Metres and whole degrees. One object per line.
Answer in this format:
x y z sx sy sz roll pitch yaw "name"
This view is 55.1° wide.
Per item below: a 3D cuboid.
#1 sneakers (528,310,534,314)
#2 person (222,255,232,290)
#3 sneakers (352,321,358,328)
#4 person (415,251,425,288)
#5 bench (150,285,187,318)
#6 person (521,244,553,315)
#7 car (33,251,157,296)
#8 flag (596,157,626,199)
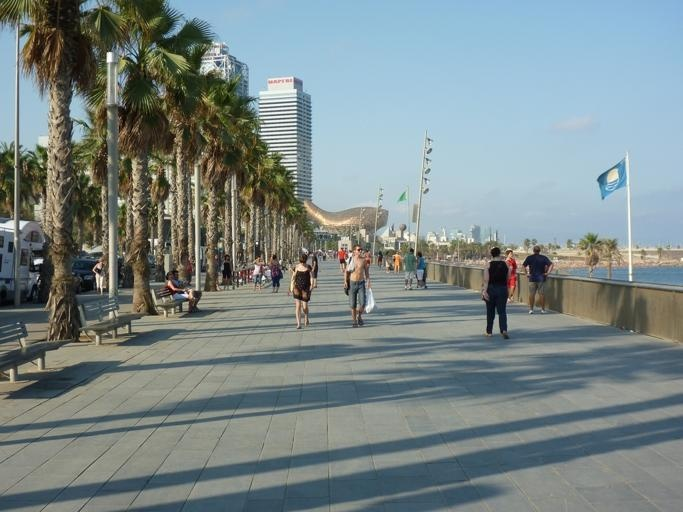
5.713 1.643 19.553 0.098 0.136 0.319 -2 -10 3 "sneakers"
-6.027 0.711 34.328 0.347 1.656 0.929 0 2 -4 "person"
0.357 1.781 17.220 0.104 0.160 0.346 0 -6 2 "sneakers"
4.057 0.637 33.138 0.371 1.828 1.424 0 2 6 "person"
-5.253 1.354 19.762 0.942 0.785 2.201 -1 2 -15 "bench"
5.751 0.718 19.022 0.700 2.069 0.564 -3 -21 22 "person"
-9.551 0.676 24.984 1.616 1.571 3.675 -1 -5 1 "car"
9.039 -2.612 21.916 0.449 1.217 1.461 0 2 -7 "flag"
